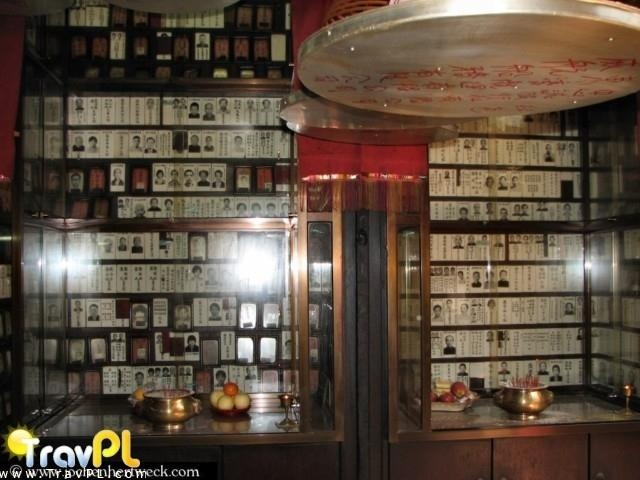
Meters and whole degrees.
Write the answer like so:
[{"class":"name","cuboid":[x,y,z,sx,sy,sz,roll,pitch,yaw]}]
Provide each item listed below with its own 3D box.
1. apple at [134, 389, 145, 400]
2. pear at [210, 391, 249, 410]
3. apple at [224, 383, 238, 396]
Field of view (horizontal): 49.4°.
[{"class":"apple","cuboid":[-1.267,1.084,4.873,0.063,0.063,0.065,-1,-13,6]},{"class":"pear","cuboid":[-0.622,1.115,4.828,0.206,0.099,0.125,4,-18,-21]},{"class":"apple","cuboid":[-0.612,1.048,4.906,0.078,0.080,0.082,-6,-23,44]}]
